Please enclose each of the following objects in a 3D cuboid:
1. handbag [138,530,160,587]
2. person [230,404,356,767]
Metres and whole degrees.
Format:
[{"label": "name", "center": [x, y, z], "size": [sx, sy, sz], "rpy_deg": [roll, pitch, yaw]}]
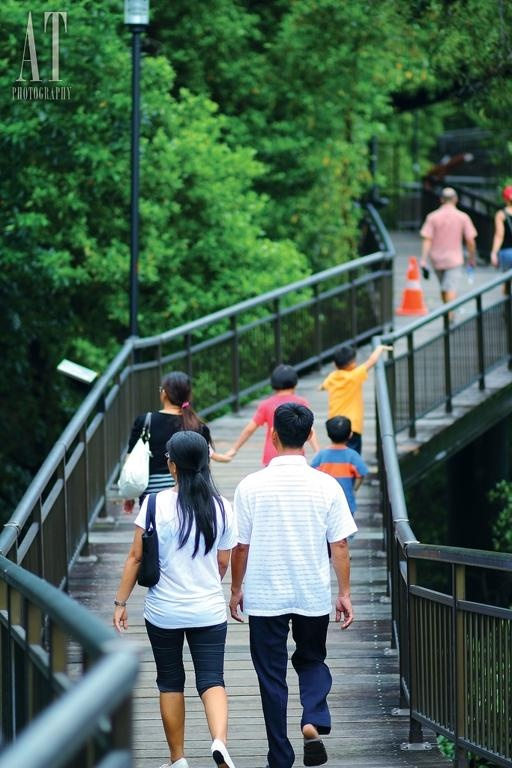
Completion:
[{"label": "handbag", "center": [-0.540, 0.858, 10.194], "size": [0.074, 0.265, 0.218], "rpy_deg": [3, -2, 1]}, {"label": "person", "center": [0.197, 1.014, 10.376], "size": [0.645, 1.779, 0.513], "rpy_deg": [-5, 12, -17]}]
